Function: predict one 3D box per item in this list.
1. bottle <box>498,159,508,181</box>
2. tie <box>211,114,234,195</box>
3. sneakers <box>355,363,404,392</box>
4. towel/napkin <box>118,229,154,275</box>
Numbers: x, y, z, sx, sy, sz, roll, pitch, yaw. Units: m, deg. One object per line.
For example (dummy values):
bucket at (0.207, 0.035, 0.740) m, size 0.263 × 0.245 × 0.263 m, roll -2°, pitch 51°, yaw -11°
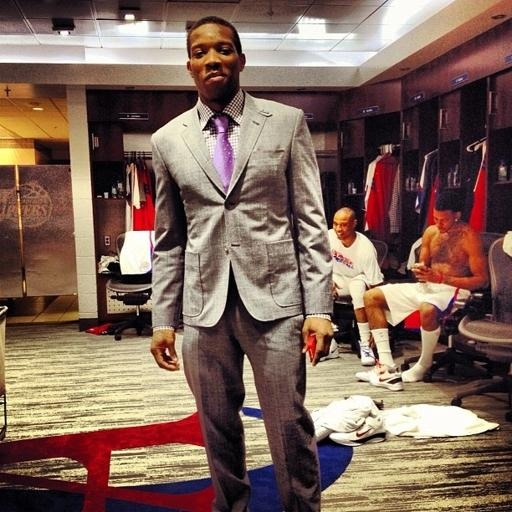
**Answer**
bottle at (2.084, -0.723, 4.112) m, size 0.078 × 0.193 × 0.142 m, roll 0°, pitch 3°, yaw 29°
tie at (-0.087, -0.267, 1.248) m, size 0.048 × 0.225 × 0.029 m, roll -2°, pitch -30°, yaw 5°
sneakers at (0.924, 0.889, 3.552) m, size 0.129 × 0.134 × 0.351 m, roll 3°, pitch 3°, yaw -40°
towel/napkin at (-1.311, -0.033, 5.331) m, size 0.368 × 0.480 × 0.232 m, roll -2°, pitch 3°, yaw -12°
